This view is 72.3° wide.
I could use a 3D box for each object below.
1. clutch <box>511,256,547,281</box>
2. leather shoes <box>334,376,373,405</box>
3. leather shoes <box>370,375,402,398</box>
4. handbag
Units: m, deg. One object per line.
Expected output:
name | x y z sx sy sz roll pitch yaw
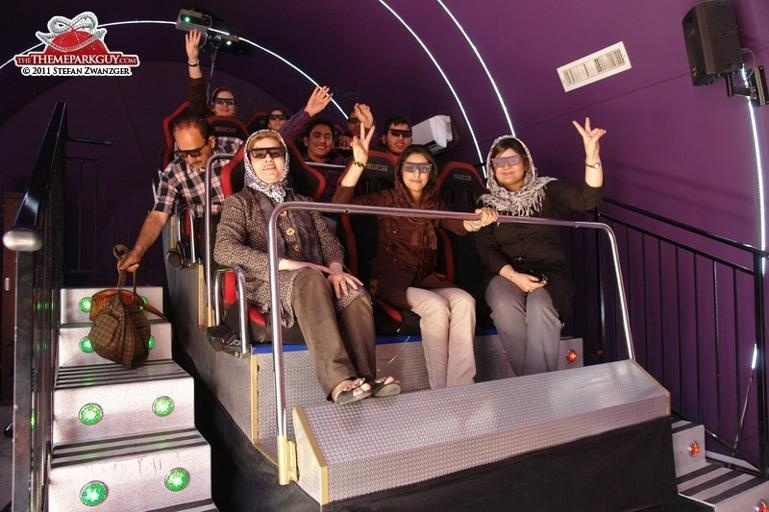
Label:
clutch | 1.109 0.126 4.045 0.136 0.091 0.225 0 32 -39
leather shoes | -0.170 0.764 2.948 0.247 0.095 0.102 -15 -19 -17
leather shoes | 0.011 0.750 3.000 0.084 0.078 0.176 11 -33 -42
handbag | -1.936 0.485 3.921 0.438 0.715 0.315 -3 -5 -25
